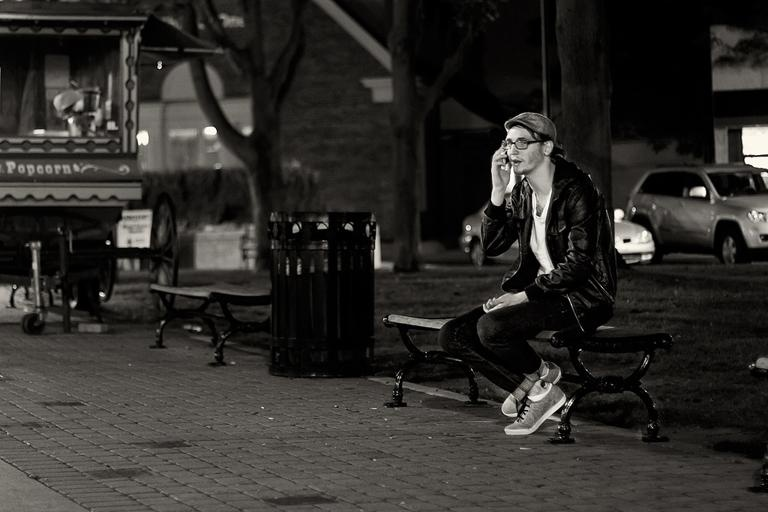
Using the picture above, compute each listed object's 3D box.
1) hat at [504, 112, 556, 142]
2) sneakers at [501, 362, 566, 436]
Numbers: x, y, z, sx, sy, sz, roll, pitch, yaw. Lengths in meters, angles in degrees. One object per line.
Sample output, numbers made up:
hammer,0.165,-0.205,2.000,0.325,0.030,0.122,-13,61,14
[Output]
hat,1.233,-1.051,12.364,0.348,0.138,0.288,16,1,-2
sneakers,1.248,1.203,12.345,0.258,0.656,0.220,37,15,-52
